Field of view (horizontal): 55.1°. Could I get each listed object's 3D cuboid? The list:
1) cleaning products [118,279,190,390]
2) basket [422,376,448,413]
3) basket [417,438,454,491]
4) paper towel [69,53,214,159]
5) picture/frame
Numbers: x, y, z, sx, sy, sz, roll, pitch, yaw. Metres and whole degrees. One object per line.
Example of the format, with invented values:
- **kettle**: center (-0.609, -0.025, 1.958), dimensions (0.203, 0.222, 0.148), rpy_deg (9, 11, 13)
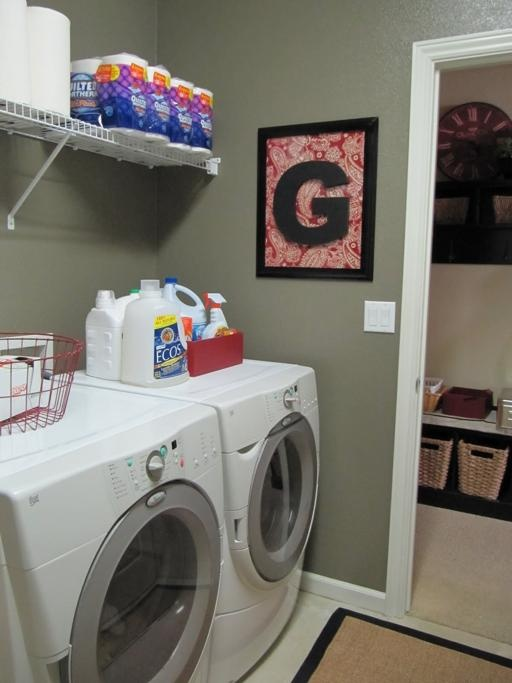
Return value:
- **cleaning products**: center (-0.275, -0.033, 1.349), dimensions (0.137, 0.287, 0.171), rpy_deg (4, 16, 17)
- **basket**: center (1.011, 0.270, 2.822), dimensions (0.183, 0.135, 0.309), rpy_deg (0, 0, 23)
- **basket**: center (0.986, 0.667, 2.702), dimensions (0.158, 0.249, 0.153), rpy_deg (0, -15, 2)
- **paper towel**: center (-0.320, -0.742, 1.536), dimensions (0.187, 0.279, 0.560), rpy_deg (4, 5, 35)
- **picture/frame**: center (0.204, -0.515, 1.778), dimensions (0.399, 0.628, 0.019), rpy_deg (1, -18, 8)
